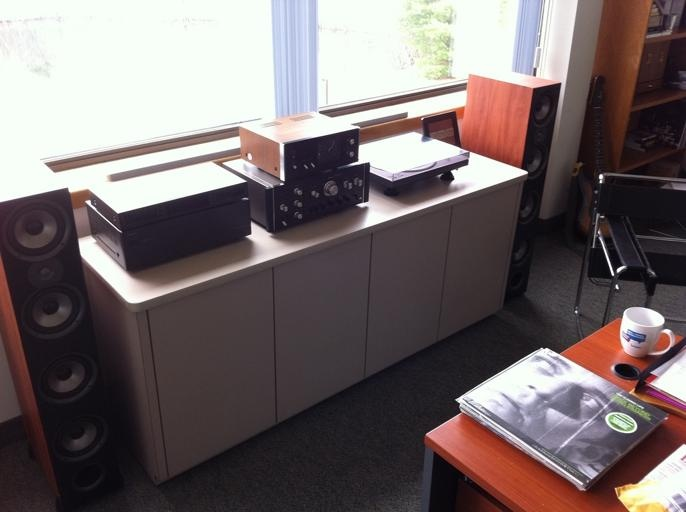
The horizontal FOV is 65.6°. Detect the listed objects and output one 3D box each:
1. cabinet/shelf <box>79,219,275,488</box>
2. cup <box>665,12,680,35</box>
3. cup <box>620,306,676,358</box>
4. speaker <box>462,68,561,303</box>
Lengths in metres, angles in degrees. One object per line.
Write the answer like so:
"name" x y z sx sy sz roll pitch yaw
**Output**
"cabinet/shelf" -0.669 0.366 2.105 0.613 0.908 0.591 -22 45 -29
"cup" 2.383 -1.692 3.862 0.099 0.144 0.122 14 43 31
"cup" 1.084 0.295 1.893 0.122 0.141 0.182 -9 21 -25
"speaker" 0.991 -0.479 3.340 0.273 1.378 0.462 -26 42 -24
